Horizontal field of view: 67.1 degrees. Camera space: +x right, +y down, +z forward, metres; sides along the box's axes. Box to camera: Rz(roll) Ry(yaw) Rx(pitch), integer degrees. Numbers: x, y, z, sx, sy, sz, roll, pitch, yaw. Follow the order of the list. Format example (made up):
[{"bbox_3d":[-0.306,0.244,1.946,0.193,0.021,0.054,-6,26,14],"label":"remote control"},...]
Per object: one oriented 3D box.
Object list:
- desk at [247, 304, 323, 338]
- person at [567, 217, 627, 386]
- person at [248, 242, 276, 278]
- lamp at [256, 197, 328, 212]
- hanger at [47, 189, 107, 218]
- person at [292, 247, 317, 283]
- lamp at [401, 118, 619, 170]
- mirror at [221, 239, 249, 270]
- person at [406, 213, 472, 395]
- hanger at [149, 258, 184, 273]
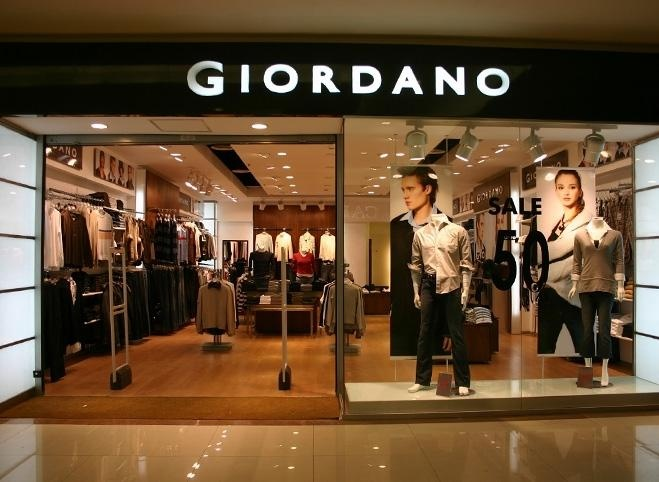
[{"bbox_3d":[-0.844,1.415,9.062,1.245,0.594,0.520,0,5,4],"label":"desk"},{"bbox_3d":[2.912,0.650,5.432,0.559,1.807,0.246,-1,4,-13],"label":"person"},{"bbox_3d":[-1.410,0.422,10.541,0.634,0.971,0.311,1,-7,-2],"label":"person"},{"bbox_3d":[-0.807,-0.904,11.356,1.945,0.355,0.302,0,30,32],"label":"lamp"},{"bbox_3d":[-3.620,-0.566,7.294,0.803,0.362,1.177,-2,5,-24],"label":"hanger"},{"bbox_3d":[-0.516,0.516,10.319,0.593,0.836,0.336,0,-12,-3],"label":"person"},{"bbox_3d":[1.814,-1.070,5.439,1.974,0.465,0.100,0,4,-3],"label":"lamp"},{"bbox_3d":[-2.410,0.346,12.826,0.671,0.848,0.032,1,1,0],"label":"mirror"},{"bbox_3d":[1.195,0.661,5.367,0.639,1.890,0.315,1,4,14],"label":"person"},{"bbox_3d":[-3.024,0.445,9.127,0.527,0.280,0.696,-1,5,-9],"label":"hanger"}]
